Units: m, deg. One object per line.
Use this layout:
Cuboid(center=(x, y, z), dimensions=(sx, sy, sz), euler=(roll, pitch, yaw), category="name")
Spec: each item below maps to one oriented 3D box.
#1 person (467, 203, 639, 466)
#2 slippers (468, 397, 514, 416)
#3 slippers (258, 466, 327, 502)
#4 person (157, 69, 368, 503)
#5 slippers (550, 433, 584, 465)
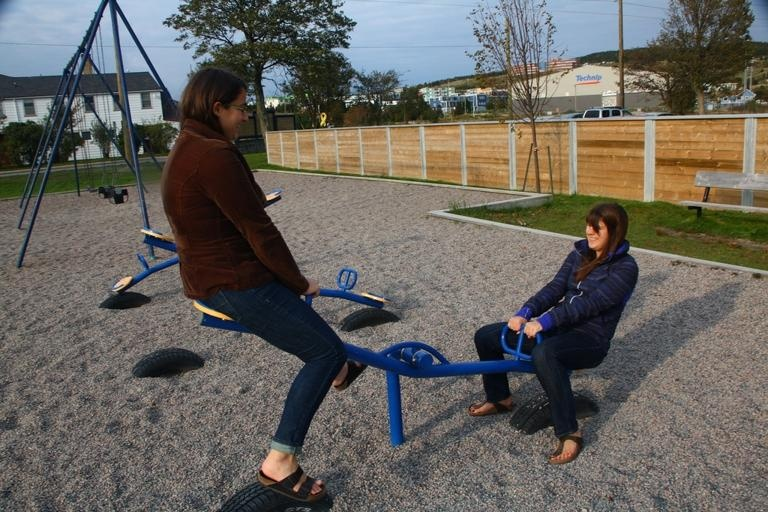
Cuboid(center=(1.243, 0.430, 3.665), dimensions=(1.116, 1.576, 0.854), euler=(-13, 15, -38), category="person")
Cuboid(center=(0.774, 1.116, 3.776), dimensions=(0.370, 0.138, 0.126), euler=(1, 9, -1), category="slippers")
Cuboid(center=(-0.517, 1.251, 2.764), dimensions=(0.317, 0.121, 0.179), euler=(19, -1, 7), category="slippers")
Cuboid(center=(-0.700, 0.199, 2.771), dimensions=(0.924, 2.409, 0.526), euler=(2, 13, 22), category="person")
Cuboid(center=(1.200, 1.224, 3.294), dimensions=(0.267, 0.093, 0.130), euler=(-15, 13, -41), category="slippers")
